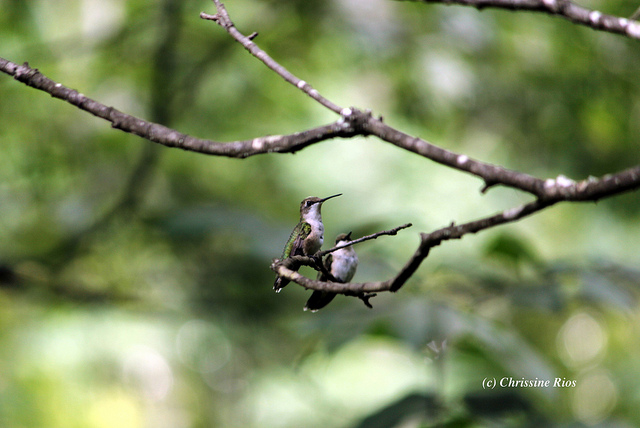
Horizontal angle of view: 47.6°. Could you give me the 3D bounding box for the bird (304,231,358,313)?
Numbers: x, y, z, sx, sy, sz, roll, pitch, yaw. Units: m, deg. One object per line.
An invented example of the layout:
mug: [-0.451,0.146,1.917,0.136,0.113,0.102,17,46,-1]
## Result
bird: [0.154,0.359,5.874,0.261,0.728,0.461,-4,-85,-16]

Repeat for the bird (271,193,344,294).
bird: [-0.099,0.148,5.789,0.546,0.236,0.554,-7,-92,27]
